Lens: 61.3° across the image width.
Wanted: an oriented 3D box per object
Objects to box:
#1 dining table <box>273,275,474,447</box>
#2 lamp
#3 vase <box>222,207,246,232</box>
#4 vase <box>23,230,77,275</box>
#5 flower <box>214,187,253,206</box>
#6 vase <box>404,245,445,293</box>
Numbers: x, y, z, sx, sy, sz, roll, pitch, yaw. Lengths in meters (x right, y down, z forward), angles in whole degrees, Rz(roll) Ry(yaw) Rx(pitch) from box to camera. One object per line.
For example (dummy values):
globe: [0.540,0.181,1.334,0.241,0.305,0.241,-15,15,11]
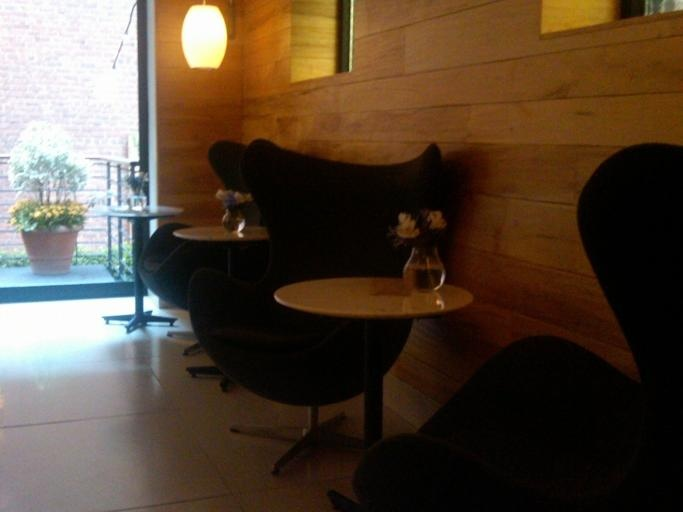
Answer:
dining table: [0.098,0.207,2.306,0.740,0.750,0.688,11,17,39]
lamp: [-1.079,-1.730,4.527,0.323,0.470,0.146,-2,11,-14]
vase: [-0.739,-0.260,3.919,0.143,0.199,0.144,-3,14,-16]
vase: [-2.695,-0.059,5.407,0.422,0.338,0.420,3,4,27]
flower: [-0.709,-0.386,3.801,0.208,0.106,0.193,11,-7,-30]
vase: [0.332,0.059,2.305,0.181,0.249,0.173,1,-6,-3]
